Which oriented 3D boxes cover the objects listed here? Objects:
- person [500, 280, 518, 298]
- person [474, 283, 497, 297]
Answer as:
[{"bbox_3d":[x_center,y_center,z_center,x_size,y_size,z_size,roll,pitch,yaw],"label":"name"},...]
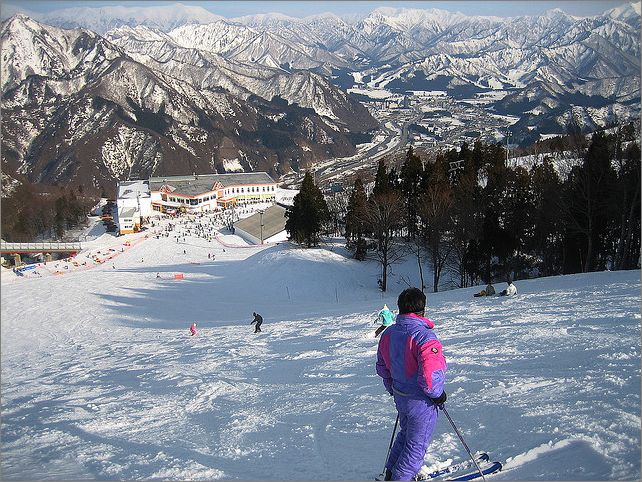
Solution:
[{"bbox_3d":[8.321,2.134,26.305,0.697,0.679,1.093,-2,-1,28],"label":"person"},{"bbox_3d":[7.539,2.249,27.389,0.913,0.598,0.918,-2,-1,29],"label":"person"}]
